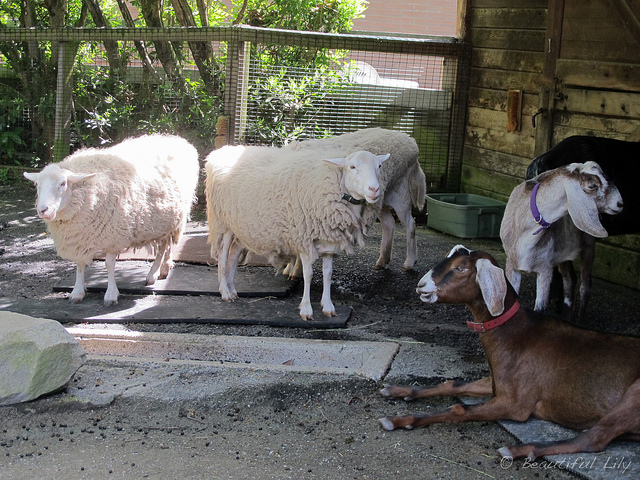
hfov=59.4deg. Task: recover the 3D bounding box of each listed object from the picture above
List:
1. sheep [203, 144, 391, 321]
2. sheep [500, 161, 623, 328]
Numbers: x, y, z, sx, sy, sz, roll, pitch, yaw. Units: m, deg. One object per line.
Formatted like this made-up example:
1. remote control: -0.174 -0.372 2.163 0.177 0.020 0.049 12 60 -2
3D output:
1. sheep: -0.272 -0.112 6.006 2.289 1.732 0.926 5 12 33
2. sheep: 2.064 0.056 4.822 0.680 1.233 1.638 -7 3 -15
